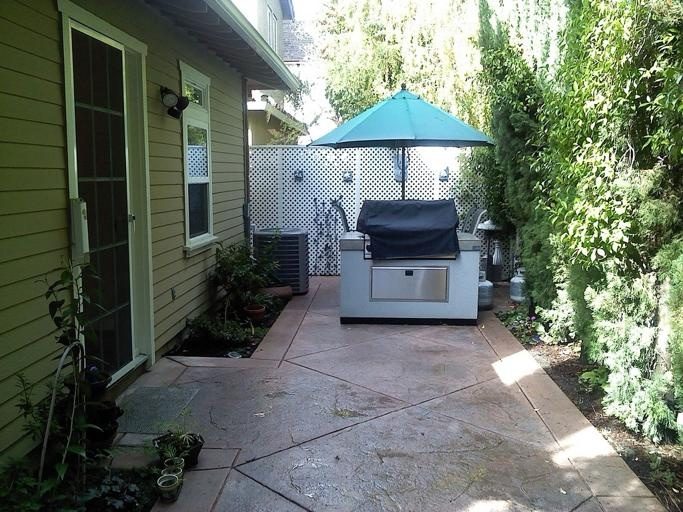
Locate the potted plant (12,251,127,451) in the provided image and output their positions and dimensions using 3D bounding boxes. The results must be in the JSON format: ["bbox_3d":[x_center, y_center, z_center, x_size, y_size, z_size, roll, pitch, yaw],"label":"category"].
[{"bbox_3d":[-1.936,0.594,3.377,0.588,1.255,1.782,-5,11,-26],"label":"potted plant"}]

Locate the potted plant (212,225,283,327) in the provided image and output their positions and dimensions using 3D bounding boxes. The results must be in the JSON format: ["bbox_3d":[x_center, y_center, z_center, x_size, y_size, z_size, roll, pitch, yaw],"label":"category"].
[{"bbox_3d":[-1.447,0.336,7.079,1.093,1.332,0.958,-1,3,-27],"label":"potted plant"}]

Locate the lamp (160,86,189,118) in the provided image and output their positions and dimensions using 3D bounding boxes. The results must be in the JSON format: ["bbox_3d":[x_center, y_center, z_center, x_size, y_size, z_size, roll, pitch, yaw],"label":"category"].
[{"bbox_3d":[-1.805,-1.663,5.168,0.182,0.318,0.287,2,10,11],"label":"lamp"}]

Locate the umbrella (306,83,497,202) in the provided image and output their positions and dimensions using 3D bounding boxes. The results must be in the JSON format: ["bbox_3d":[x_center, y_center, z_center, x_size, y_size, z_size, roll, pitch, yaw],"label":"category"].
[{"bbox_3d":[0.908,-1.600,7.171,2.248,1.909,2.262,-6,25,-15],"label":"umbrella"}]

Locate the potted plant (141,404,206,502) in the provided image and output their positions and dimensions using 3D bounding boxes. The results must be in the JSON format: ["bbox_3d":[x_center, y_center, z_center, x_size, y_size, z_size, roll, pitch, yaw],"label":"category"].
[{"bbox_3d":[-1.116,1.343,3.197,0.245,0.193,0.444,0,29,-12],"label":"potted plant"}]
